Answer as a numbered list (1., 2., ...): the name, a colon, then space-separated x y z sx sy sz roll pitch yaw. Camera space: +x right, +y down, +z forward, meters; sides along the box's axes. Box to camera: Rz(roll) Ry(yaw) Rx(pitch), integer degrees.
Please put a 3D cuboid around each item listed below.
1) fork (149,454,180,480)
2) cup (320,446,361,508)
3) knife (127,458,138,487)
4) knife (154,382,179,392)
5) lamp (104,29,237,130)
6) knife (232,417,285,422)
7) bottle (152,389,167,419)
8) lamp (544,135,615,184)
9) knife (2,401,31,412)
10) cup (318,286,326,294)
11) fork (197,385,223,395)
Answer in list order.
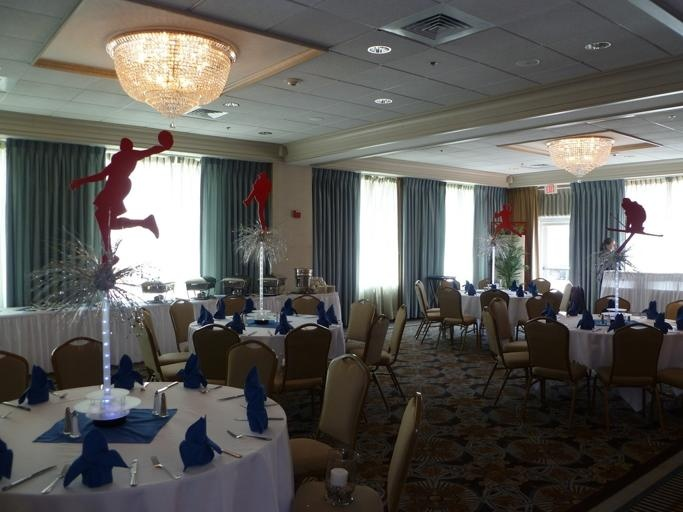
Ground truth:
1. fork: -0.880 1.064 2.312 0.066 0.043 0.321 0 5 -38
2. cup: 0.001 1.267 2.667 0.176 0.398 0.220 0 4 -3
3. knife: -1.019 1.055 2.282 0.037 0.020 0.203 5 11 -11
4. knife: -1.271 0.955 3.395 0.042 0.017 0.198 8 7 22
5. lamp: -1.778 -1.724 4.766 1.229 0.573 1.256 0 2 30
6. knife: -0.502 1.007 2.858 0.312 0.010 0.051 0 4 -6
7. bottle: -1.163 0.956 2.964 0.060 0.139 0.124 -1 1 -43
8. lamp: 4.333 -1.697 8.371 1.073 0.692 1.078 0 7 18
9. knife: -2.132 0.990 3.041 0.283 0.038 0.039 0 9 30
10. cup: -0.359 0.673 9.087 0.116 0.113 0.118 -1 -2 0
11. fork: -0.945 0.959 3.364 0.048 0.037 0.254 5 -3 22
